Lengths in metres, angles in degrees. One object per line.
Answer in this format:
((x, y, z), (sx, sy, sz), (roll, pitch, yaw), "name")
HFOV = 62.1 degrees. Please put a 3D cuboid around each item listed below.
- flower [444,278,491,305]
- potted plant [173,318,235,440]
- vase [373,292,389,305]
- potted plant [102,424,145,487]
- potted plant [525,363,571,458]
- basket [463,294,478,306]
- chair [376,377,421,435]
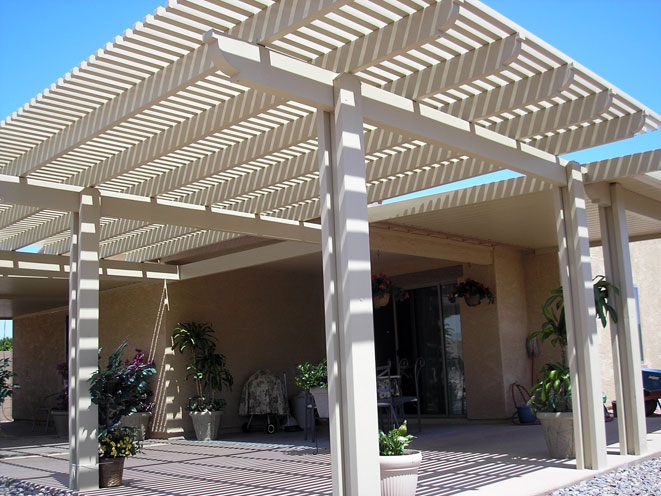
((2.816, 0.881, 11.247), (0.562, 0.436, 0.604), (2, -4, 4), "flower")
((-2.453, 2.499, 10.681), (1.137, 2.197, 0.675), (0, -10, -14), "potted plant")
((0.934, 0.951, 10.314), (0.272, 0.206, 0.297), (-3, -10, 2), "vase")
((-2.487, 2.415, 6.512), (0.404, 0.697, 0.153), (2, -10, -24), "potted plant")
((2.876, 2.037, 7.031), (0.624, 1.067, 0.618), (2, -11, -29), "potted plant")
((2.845, 1.065, 11.157), (0.306, 0.213, 0.375), (-6, -11, 17), "basket")
((1.118, 2.483, 9.182), (0.417, 0.772, 0.463), (-5, -9, -35), "chair")
